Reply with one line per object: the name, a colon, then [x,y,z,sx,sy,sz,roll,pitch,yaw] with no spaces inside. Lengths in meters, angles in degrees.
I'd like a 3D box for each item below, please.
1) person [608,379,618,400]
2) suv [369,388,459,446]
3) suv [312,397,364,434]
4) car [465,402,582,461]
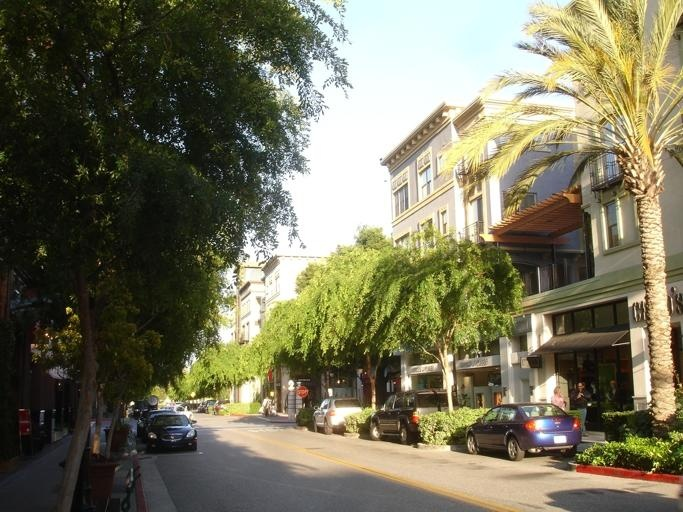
person: [10.510,5.141,25.529,0.327,0.890,1.245,-6,-20,22]
suv: [3.044,6.925,29.027,1.768,1.692,3.557,4,-9,-22]
suv: [-0.399,9.060,37.928,1.580,1.352,3.036,2,-6,-16]
car: [5.469,5.430,20.914,1.524,1.243,3.486,4,-12,-17]
